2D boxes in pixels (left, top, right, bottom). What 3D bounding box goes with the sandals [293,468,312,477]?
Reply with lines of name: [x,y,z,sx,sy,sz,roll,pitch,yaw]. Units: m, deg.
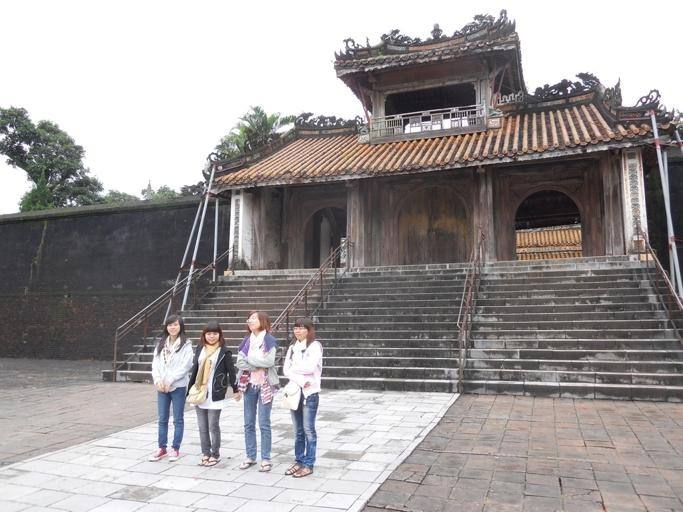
sandals: [-0.454,2.552,6.432,0.233,0.094,0.084,10,-18,-35]

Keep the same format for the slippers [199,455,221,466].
slippers: [-1.625,2.528,6.782,0.268,0.109,0.167,-2,2,-21]

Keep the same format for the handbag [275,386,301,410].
handbag: [-0.615,1.689,6.459,0.249,0.312,0.153,0,3,40]

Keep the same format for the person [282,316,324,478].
person: [-0.468,1.677,6.568,0.457,1.813,0.447,-1,2,8]

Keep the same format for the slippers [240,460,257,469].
slippers: [-1.145,2.543,6.649,0.176,0.072,0.067,21,-29,-40]

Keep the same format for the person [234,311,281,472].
person: [-1.039,1.640,6.763,0.520,1.883,0.451,-1,2,19]

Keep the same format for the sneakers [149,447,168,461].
sneakers: [-2.323,2.535,6.995,0.097,0.118,0.289,-6,-10,19]

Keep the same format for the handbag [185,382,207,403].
handbag: [-1.762,1.675,6.682,0.224,0.306,0.128,0,-32,10]
